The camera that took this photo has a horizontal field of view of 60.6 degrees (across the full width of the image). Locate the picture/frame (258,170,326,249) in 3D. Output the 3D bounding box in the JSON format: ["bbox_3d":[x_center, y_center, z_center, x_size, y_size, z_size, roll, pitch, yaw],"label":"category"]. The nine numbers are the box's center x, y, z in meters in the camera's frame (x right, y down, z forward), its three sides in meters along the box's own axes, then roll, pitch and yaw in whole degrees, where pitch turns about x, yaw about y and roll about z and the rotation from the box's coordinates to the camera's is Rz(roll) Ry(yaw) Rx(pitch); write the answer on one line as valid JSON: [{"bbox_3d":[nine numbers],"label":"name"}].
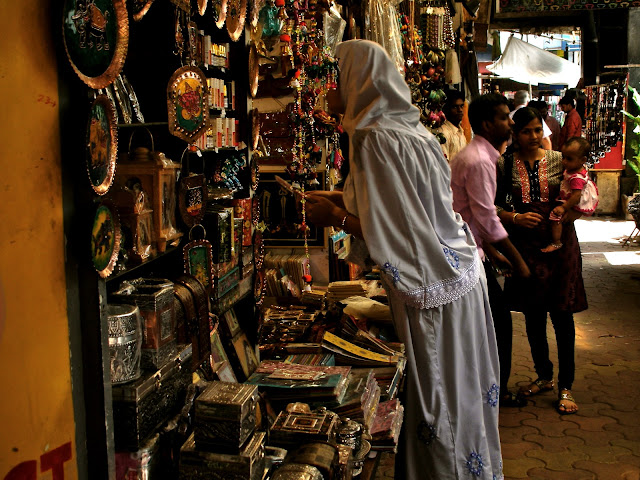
[{"bbox_3d":[-0.226,-0.245,3.857,0.568,0.673,0.062,0,10,4],"label":"picture/frame"}]

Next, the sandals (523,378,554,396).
[{"bbox_3d":[1.689,1.138,4.321,0.300,0.128,0.109,-2,1,-13],"label":"sandals"}]

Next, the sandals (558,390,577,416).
[{"bbox_3d":[1.791,1.174,3.966,0.082,0.090,0.220,-5,-3,11],"label":"sandals"}]

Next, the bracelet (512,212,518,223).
[{"bbox_3d":[1.357,-0.164,3.840,0.019,0.054,0.044,7,6,3],"label":"bracelet"}]

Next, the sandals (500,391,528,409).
[{"bbox_3d":[1.428,1.185,4.131,0.245,0.095,0.094,-2,44,20],"label":"sandals"}]
